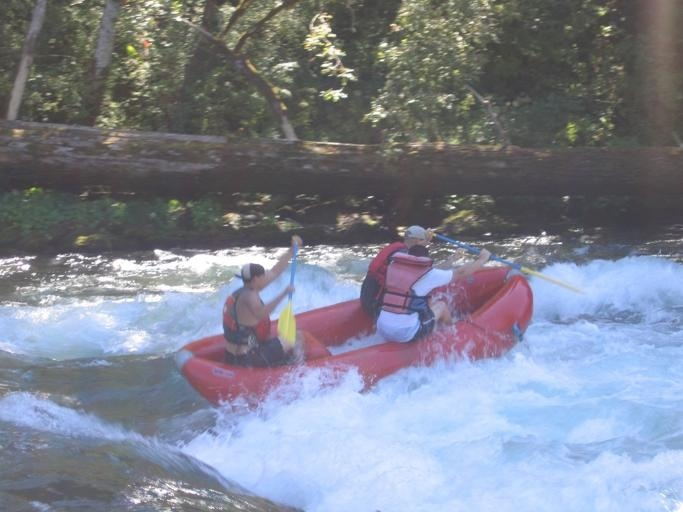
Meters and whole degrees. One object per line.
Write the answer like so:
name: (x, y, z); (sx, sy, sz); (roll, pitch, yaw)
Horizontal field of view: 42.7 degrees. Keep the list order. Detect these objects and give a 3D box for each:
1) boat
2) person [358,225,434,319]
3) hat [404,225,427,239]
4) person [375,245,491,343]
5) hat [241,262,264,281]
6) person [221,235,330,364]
boat: (0.259, 1.068, 10.650); (3.892, 0.754, 1.800); (-14, 11, -11)
person: (0.691, 0.187, 11.065); (0.869, 1.108, 0.451); (15, -2, 24)
hat: (0.917, -0.291, 10.832); (0.272, 0.155, 0.182); (4, 2, -8)
person: (1.104, 0.508, 10.964); (0.922, 1.118, 1.460); (5, 7, 40)
hat: (-1.049, 0.187, 10.140); (0.260, 0.218, 0.143); (4, 3, -7)
person: (-0.892, 0.534, 10.436); (1.015, 1.433, 1.040); (7, 11, 40)
